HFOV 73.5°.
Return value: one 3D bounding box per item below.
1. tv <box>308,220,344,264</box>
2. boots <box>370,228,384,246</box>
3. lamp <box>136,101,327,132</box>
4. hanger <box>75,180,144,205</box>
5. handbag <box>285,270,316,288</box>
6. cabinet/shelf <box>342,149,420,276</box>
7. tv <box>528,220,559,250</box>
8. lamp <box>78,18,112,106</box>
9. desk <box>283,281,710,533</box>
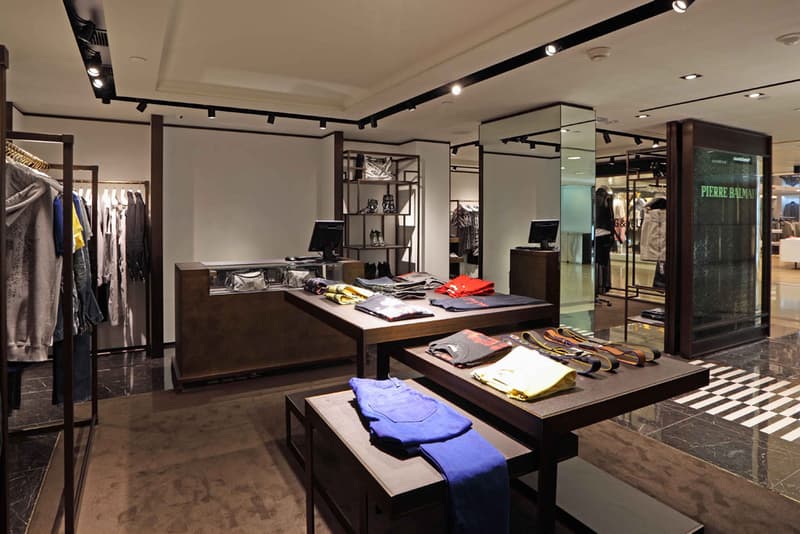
[{"bbox_3d":[-0.858,-0.293,6.275,0.556,0.631,0.320,2,15,-12],"label":"tv"},{"bbox_3d":[-0.379,-0.459,8.329,0.263,0.255,0.170,-2,5,-17],"label":"boots"},{"bbox_3d":[-2.127,-1.918,6.684,2.424,0.193,0.333,-3,4,-22],"label":"lamp"},{"bbox_3d":[-3.580,-0.953,6.698,0.807,0.299,0.830,-4,5,-32],"label":"hanger"},{"bbox_3d":[-1.129,0.123,6.000,0.282,0.149,0.205,1,2,1],"label":"handbag"},{"bbox_3d":[-0.279,-0.822,8.332,1.227,1.919,0.871,-2,4,-18],"label":"cabinet/shelf"},{"bbox_3d":[1.721,-0.394,6.458,0.347,0.343,0.180,0,4,17],"label":"tv"},{"bbox_3d":[-2.950,-2.014,5.187,0.118,0.415,0.483,-4,-13,-8],"label":"lamp"},{"bbox_3d":[0.687,0.972,4.079,1.455,1.213,2.557,-5,5,-41],"label":"desk"}]
